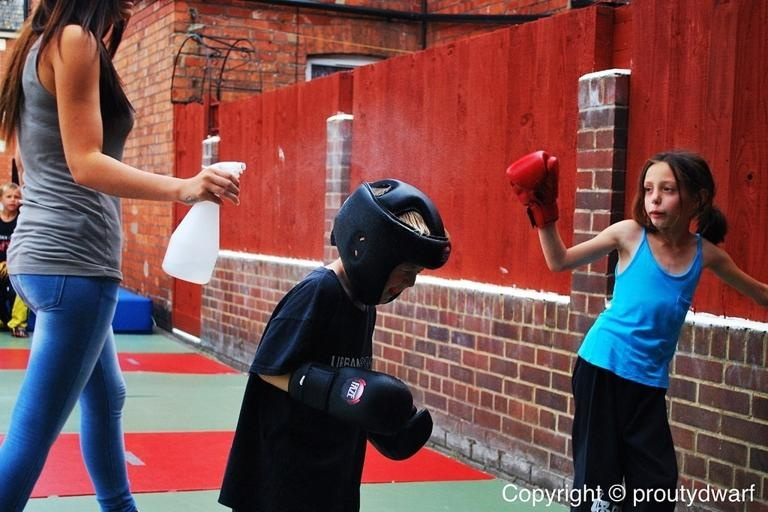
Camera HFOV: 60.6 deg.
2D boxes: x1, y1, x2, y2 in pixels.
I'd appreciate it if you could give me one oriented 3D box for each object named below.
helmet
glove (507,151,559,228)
[{"bbox_3d":[0.054,-0.041,2.566,0.448,0.464,0.383,11,-3,9],"label":"helmet"},{"bbox_3d":[0.740,-0.352,3.332,0.231,0.416,0.224,-10,47,-10],"label":"glove"}]
